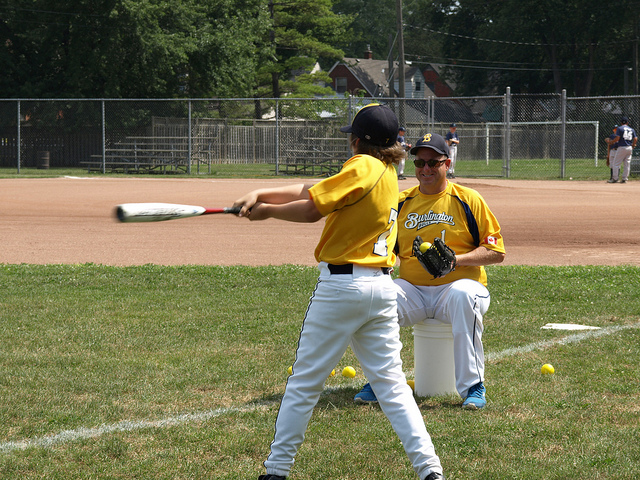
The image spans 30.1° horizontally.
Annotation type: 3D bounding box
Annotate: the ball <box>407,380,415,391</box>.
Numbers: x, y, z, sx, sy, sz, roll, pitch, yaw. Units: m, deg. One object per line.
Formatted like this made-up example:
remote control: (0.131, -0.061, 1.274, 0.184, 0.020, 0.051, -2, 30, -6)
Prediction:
ball: (1.659, 2.637, 21.623, 0.123, 0.160, 0.289, 0, 2, 4)

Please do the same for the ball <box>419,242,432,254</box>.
ball: (1.893, 0.133, 21.190, 0.201, 0.168, 0.171, -13, -10, -4)

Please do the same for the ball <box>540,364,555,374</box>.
ball: (4.157, 2.353, 21.715, 0.204, 0.165, 0.167, -20, 24, -19)

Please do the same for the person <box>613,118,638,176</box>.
person: (9.514, -2.889, 36.977, 0.639, 1.799, 1.599, 0, 3, 18)

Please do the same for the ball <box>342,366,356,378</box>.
ball: (0.529, 2.413, 21.825, 0.207, 0.182, 0.186, 4, 1, -15)

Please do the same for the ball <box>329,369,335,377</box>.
ball: (0.233, 2.445, 21.898, 0.065, 0.112, 0.203, 1, 3, 26)
